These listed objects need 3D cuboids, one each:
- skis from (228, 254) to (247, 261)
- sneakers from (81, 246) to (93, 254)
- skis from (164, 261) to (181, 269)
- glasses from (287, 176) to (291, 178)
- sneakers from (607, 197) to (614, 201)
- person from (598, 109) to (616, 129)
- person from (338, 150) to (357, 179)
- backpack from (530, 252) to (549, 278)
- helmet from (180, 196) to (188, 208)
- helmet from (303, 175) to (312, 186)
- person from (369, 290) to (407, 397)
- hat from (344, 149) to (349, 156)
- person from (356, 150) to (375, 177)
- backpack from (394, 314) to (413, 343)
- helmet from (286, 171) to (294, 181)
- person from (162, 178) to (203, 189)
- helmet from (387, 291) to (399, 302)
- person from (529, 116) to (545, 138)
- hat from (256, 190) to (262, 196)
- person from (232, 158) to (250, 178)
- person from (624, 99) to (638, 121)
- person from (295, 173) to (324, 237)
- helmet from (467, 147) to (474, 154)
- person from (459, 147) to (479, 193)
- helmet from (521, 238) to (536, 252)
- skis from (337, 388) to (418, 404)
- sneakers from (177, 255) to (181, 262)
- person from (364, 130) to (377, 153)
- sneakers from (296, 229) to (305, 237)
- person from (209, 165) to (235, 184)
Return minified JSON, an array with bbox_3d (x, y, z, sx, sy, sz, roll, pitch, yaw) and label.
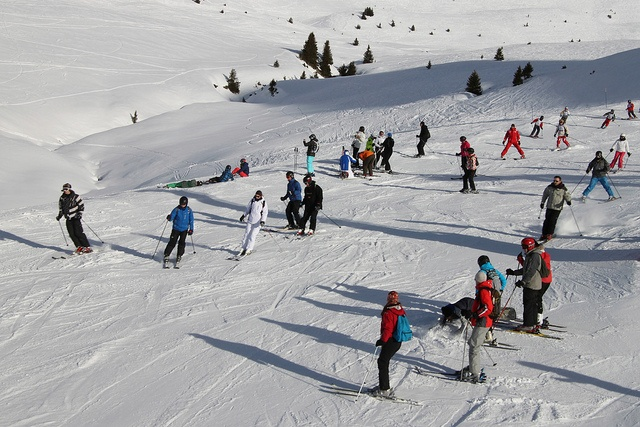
[{"bbox_3d":[-3.370,1.789,25.089,0.843,0.056,0.244,4,34,22],"label":"skis"},{"bbox_3d":[-9.757,1.490,25.842,0.256,0.096,0.259,8,21,18],"label":"sneakers"},{"bbox_3d":[-5.945,2.085,24.816,0.701,0.099,0.278,0,42,-3],"label":"skis"},{"bbox_3d":[-1.296,-1.560,26.153,0.140,0.136,0.063,4,24,10],"label":"glasses"},{"bbox_3d":[12.833,-0.667,27.097,0.277,0.120,0.140,-39,15,-17],"label":"sneakers"},{"bbox_3d":[18.064,-6.106,38.493,0.687,1.162,2.079,11,24,24],"label":"person"},{"bbox_3d":[1.436,-2.779,33.434,0.944,0.467,1.461,0,56,5],"label":"person"},{"bbox_3d":[7.357,1.720,20.314,0.434,0.772,0.325,-17,28,-35],"label":"backpack"},{"bbox_3d":[-5.479,-0.557,24.707,0.388,0.465,0.449,3,58,-24],"label":"helmet"},{"bbox_3d":[-0.444,-1.451,25.927,0.436,0.379,0.347,-2,8,-16],"label":"helmet"},{"bbox_3d":[2.114,4.008,18.777,0.797,3.079,1.168,4,24,11],"label":"person"},{"bbox_3d":[1.460,-3.345,33.037,0.200,0.249,0.242,-1,-10,0],"label":"hat"},{"bbox_3d":[2.595,-2.790,33.359,0.661,1.424,0.812,0,23,1],"label":"person"},{"bbox_3d":[2.495,3.481,18.579,0.491,0.803,0.357,-19,29,-37],"label":"backpack"},{"bbox_3d":[-1.222,-1.659,26.294,0.446,0.386,0.333,0,3,-39],"label":"helmet"},{"bbox_3d":[-7.721,-1.707,35.100,1.464,0.345,0.982,0,14,0],"label":"person"},{"bbox_3d":[2.283,2.488,18.816,0.372,0.429,0.430,8,-4,1],"label":"helmet"},{"bbox_3d":[13.438,-5.556,38.083,0.682,1.382,2.030,7,23,17],"label":"person"},{"bbox_3d":[-2.467,-0.879,25.181,0.214,0.255,0.192,-4,14,-33],"label":"hat"},{"bbox_3d":[-4.398,-2.698,35.373,0.960,1.027,0.945,14,26,30],"label":"person"},{"bbox_3d":[20.415,-6.960,40.123,0.667,0.978,2.842,11,24,24],"label":"person"},{"bbox_3d":[-0.439,-0.406,26.351,1.012,2.672,0.859,-1,23,-2],"label":"person"},{"bbox_3d":[7.133,-3.000,28.992,0.262,0.272,0.282,3,37,13],"label":"helmet"},{"bbox_3d":[7.253,-2.144,29.642,0.777,2.298,1.069,5,24,12],"label":"person"},{"bbox_3d":[6.969,1.003,20.448,0.490,0.429,0.371,10,7,26],"label":"helmet"},{"bbox_3d":[1.864,5.629,18.930,1.687,0.228,0.221,8,-22,10],"label":"skis"},{"bbox_3d":[-5.711,1.800,24.912,0.241,0.309,0.095,0,-1,-6],"label":"sneakers"},{"bbox_3d":[2.725,-3.859,33.416,0.930,0.856,0.668,2,13,-6],"label":"person"},{"bbox_3d":[-0.843,0.814,26.629,0.239,0.328,0.146,29,7,33],"label":"sneakers"},{"bbox_3d":[-5.664,-2.207,35.244,1.343,0.723,0.987,-3,28,7],"label":"person"}]
